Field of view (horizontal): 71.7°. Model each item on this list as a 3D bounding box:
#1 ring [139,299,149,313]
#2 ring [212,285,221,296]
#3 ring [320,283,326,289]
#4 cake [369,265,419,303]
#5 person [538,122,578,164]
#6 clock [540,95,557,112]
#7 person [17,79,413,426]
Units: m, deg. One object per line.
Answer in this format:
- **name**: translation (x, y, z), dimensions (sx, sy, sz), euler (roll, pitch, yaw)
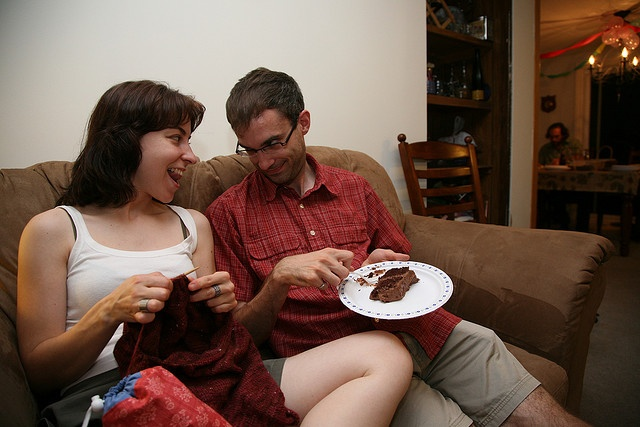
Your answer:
- **ring**: translation (-0.620, 0.324, 1.562), dimensions (0.040, 0.040, 0.040), euler (4, -10, 1)
- **ring**: translation (-0.384, 0.288, 1.666), dimensions (0.029, 0.039, 0.037), euler (5, 16, 24)
- **ring**: translation (0.012, 0.294, 1.800), dimensions (0.020, 0.007, 0.021), euler (-9, 13, 2)
- **cake**: translation (0.307, 0.277, 1.823), dimensions (0.109, 0.048, 0.166), euler (0, 27, 30)
- **person**: translation (3.883, -1.129, 7.193), dimensions (0.694, 0.725, 0.406), euler (2, 17, 42)
- **clock**: translation (4.221, -2.033, 8.160), dimensions (0.056, 0.353, 0.309), euler (6, 1, -37)
- **person**: translation (-0.443, 0.124, 2.204), dimensions (1.569, 1.352, 1.112), euler (3, 5, 4)
